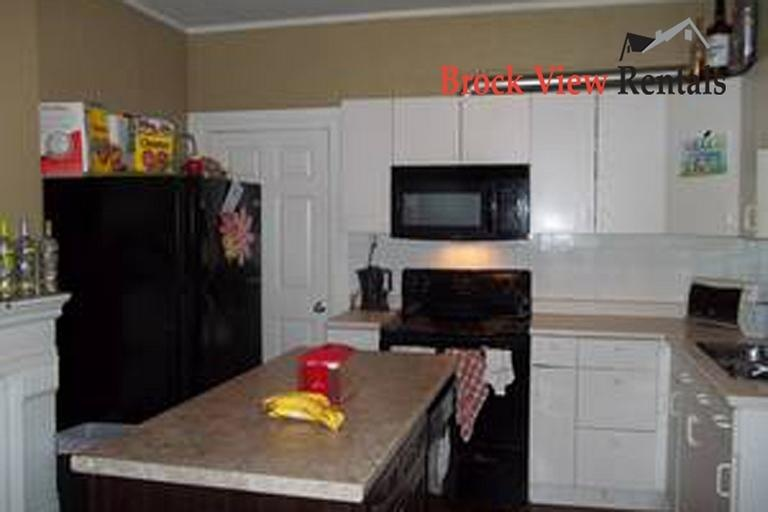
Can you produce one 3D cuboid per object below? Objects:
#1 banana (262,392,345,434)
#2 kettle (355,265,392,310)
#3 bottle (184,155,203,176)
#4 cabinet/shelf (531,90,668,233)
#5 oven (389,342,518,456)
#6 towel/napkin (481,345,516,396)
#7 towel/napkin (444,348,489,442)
[{"bbox_3d":[-0.240,0.456,1.805,0.189,0.063,0.110,5,18,8],"label":"banana"},{"bbox_3d":[-0.047,0.163,3.307,0.209,0.211,0.215,2,3,14],"label":"kettle"},{"bbox_3d":[-0.931,-0.448,2.962,0.093,0.101,0.455,-2,8,-16],"label":"bottle"},{"bbox_3d":[1.094,-0.497,3.007,0.627,0.623,0.341,1,7,14],"label":"cabinet/shelf"},{"bbox_3d":[0.311,0.596,2.530,0.554,0.598,0.217,3,4,7],"label":"oven"},{"bbox_3d":[0.566,0.555,2.939,0.132,0.239,0.063,2,-5,3],"label":"towel/napkin"},{"bbox_3d":[0.413,0.688,3.005,0.220,0.463,0.096,1,6,4],"label":"towel/napkin"}]
